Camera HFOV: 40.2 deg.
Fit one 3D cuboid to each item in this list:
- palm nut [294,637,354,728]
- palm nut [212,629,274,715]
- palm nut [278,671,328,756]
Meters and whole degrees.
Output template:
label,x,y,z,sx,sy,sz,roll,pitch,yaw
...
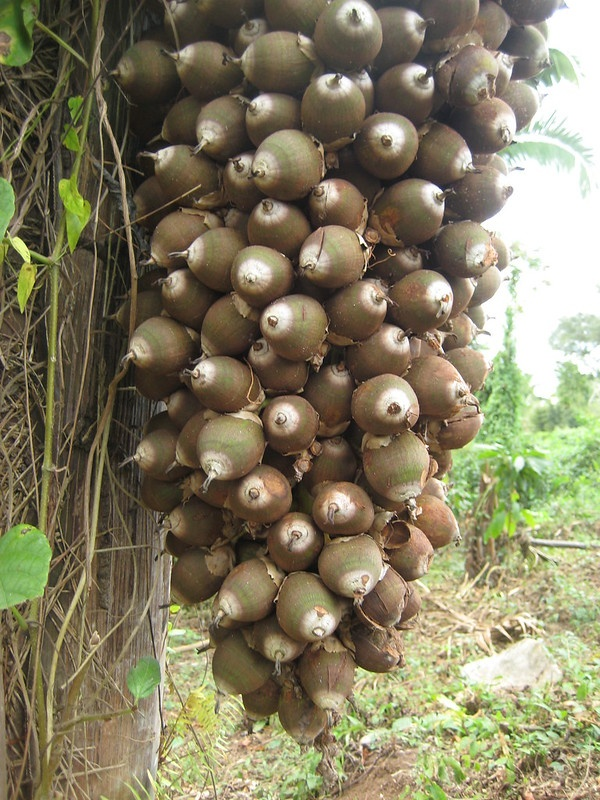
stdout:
label,x,y,z,sx,sy,sz,roll,pitch,yaw
palm nut,0.055,0.577,1.690,0.120,0.147,0.126,-10,-32,2
palm nut,-0.130,0.572,1.706,0.147,0.108,0.085,21,-66,-5
palm nut,-0.005,0.663,1.712,0.110,0.142,0.095,14,-29,-39
